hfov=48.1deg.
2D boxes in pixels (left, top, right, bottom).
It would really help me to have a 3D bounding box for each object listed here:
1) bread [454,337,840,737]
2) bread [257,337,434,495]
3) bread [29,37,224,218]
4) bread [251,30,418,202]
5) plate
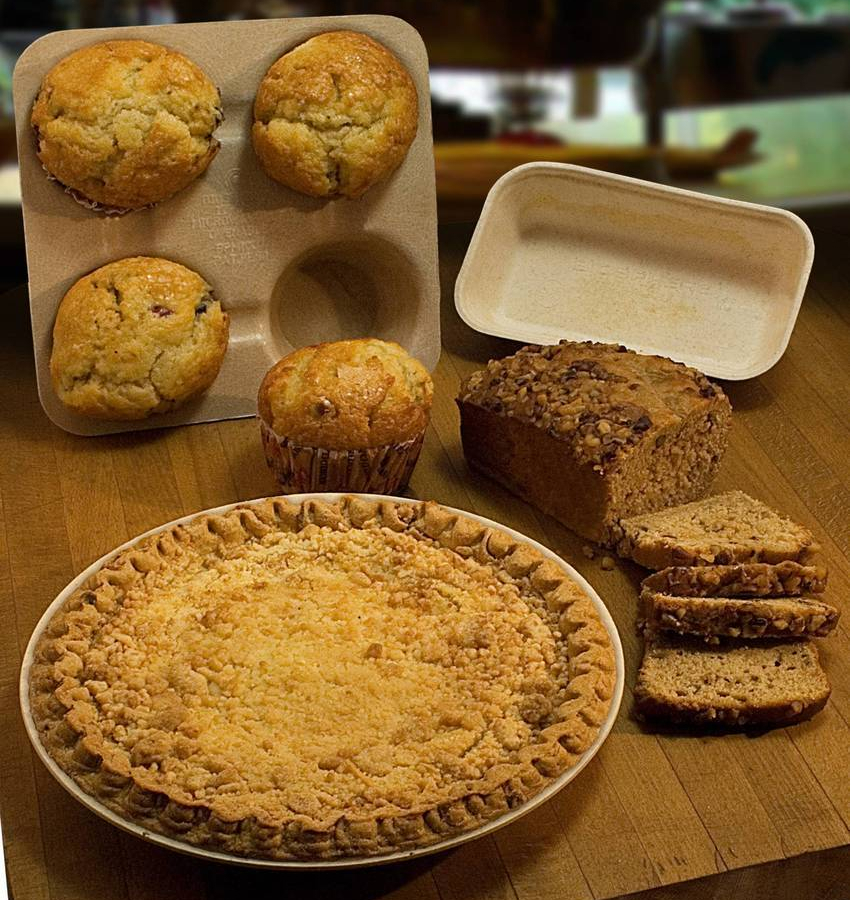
[{"bbox_3d":[0.390,0.146,1.671,0.441,0.235,0.734,-12,37,-22],"label":"bread"},{"bbox_3d":[-0.134,-0.049,1.654,0.314,0.220,0.281,-2,32,-6],"label":"bread"},{"bbox_3d":[-0.578,-0.617,1.845,0.355,0.278,0.249,-17,51,-19],"label":"bread"},{"bbox_3d":[-0.178,-0.677,1.939,0.264,0.257,0.342,34,53,24],"label":"bread"},{"bbox_3d":[-0.127,0.291,1.275,0.733,0.140,0.679,5,28,8],"label":"plate"}]
